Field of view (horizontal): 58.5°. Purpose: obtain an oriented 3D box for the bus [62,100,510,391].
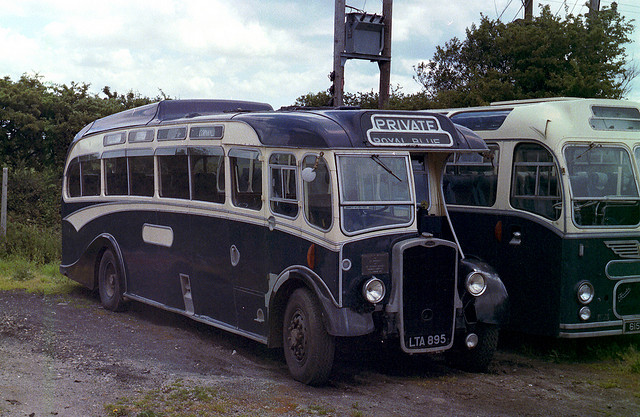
[{"bbox_3d":[-1.215,0.110,13.391,11.435,5.002,5.246,6,7,43],"label":"bus"}]
